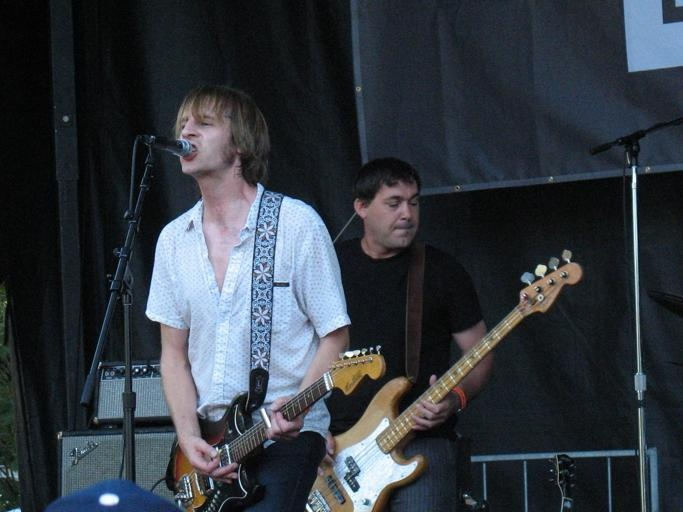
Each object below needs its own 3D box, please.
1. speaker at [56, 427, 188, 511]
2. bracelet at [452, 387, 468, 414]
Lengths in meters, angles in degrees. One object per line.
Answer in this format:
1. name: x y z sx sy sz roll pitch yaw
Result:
1. speaker: -0.997 0.964 3.878 0.550 0.550 0.203 -1 -7 2
2. bracelet: 0.631 0.767 4.521 0.049 0.143 0.101 -19 29 -35
